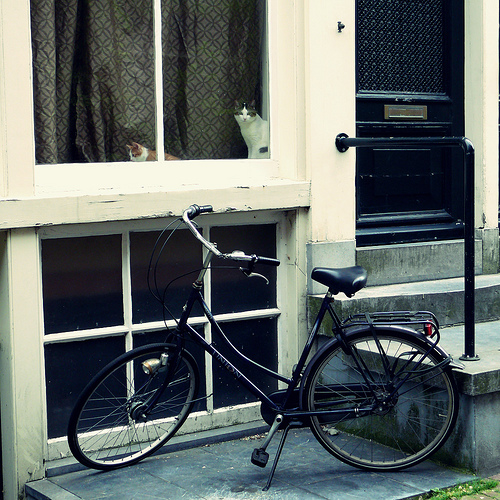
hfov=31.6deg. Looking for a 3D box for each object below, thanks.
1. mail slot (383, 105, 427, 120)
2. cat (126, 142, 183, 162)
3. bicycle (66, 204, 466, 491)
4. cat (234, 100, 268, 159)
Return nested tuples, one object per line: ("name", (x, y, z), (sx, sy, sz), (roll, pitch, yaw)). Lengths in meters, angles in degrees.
("mail slot", (1.061, -0.948, 6.073), (0.356, 0.117, 0.024), (-10, 15, -26))
("cat", (-0.570, -0.563, 5.220), (0.284, 0.182, 0.104), (-2, -6, -28))
("bicycle", (0.122, 0.473, 4.827), (2.041, 1.501, 1.323), (4, 15, 16))
("cat", (0.005, -0.756, 5.505), (0.202, 0.334, 0.104), (0, 13, 1))
